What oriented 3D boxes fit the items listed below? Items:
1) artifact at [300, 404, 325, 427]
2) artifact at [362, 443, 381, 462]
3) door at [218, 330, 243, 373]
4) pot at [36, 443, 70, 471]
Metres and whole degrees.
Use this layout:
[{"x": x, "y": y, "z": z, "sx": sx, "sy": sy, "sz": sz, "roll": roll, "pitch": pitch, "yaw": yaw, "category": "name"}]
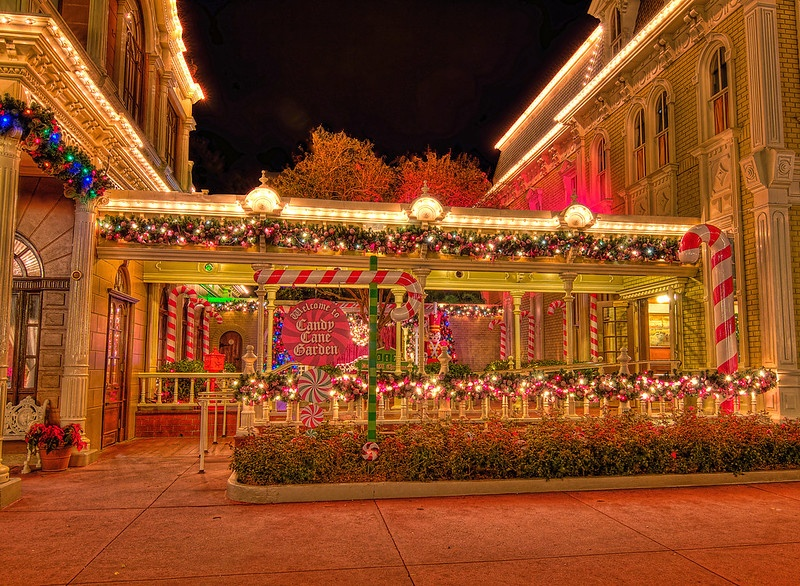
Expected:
[{"x": -1.570, "y": 2.215, "z": 12.926, "sx": 0.354, "sy": 0.584, "sz": 0.386, "roll": -1, "pitch": 11, "yaw": -4, "category": "artifact"}, {"x": -0.498, "y": 2.715, "z": 12.305, "sx": 0.281, "sy": 0.294, "sz": 0.177, "roll": -1, "pitch": 11, "yaw": -4, "category": "artifact"}, {"x": -7.100, "y": 2.577, "z": 30.281, "sx": 1.003, "sy": 2.420, "sz": 0.234, "roll": 5, "pitch": 28, "yaw": -10, "category": "door"}, {"x": -6.530, "y": 3.122, "z": 13.662, "sx": 0.461, "sy": 0.347, "sz": 0.469, "roll": -2, "pitch": -18, "yaw": -1, "category": "pot"}]
